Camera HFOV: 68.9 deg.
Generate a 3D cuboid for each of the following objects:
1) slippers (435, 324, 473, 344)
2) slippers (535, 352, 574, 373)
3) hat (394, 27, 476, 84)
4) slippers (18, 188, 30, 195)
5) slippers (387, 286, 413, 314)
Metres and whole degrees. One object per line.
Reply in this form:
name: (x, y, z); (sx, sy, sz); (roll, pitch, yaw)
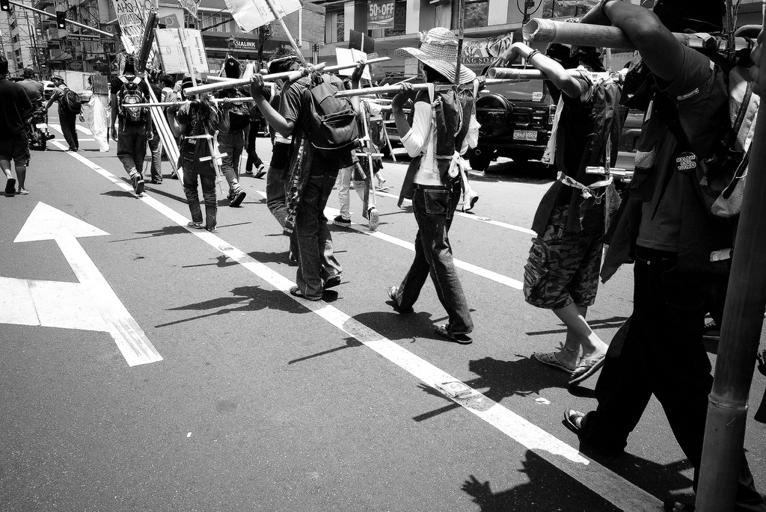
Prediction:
slippers: (0.636, 0.655, 4.979); (0.132, 0.091, 0.328); (-12, 21, -39)
slippers: (1.392, 0.854, 4.560); (0.301, 0.109, 0.112); (20, 39, 36)
hat: (0.497, -1.716, 4.768); (0.572, 0.296, 0.580); (26, 26, 12)
slippers: (-6.748, -1.226, 10.515); (0.099, 0.088, 0.212); (1, 14, 2)
slippers: (0.177, 0.427, 5.630); (0.124, 0.157, 0.403); (-4, 19, -10)
